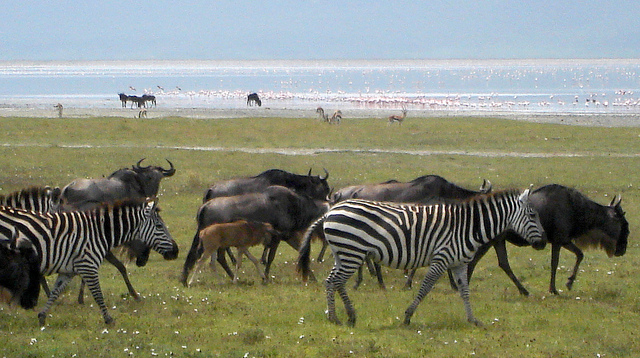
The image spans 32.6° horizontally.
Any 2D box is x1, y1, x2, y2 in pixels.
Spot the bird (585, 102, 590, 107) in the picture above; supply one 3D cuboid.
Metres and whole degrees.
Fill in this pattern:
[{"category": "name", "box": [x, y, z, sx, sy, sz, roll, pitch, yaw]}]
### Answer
[{"category": "bird", "box": [26.329, -7.313, 108.504, 0.670, 0.593, 0.209, 0, 6, -10]}]
